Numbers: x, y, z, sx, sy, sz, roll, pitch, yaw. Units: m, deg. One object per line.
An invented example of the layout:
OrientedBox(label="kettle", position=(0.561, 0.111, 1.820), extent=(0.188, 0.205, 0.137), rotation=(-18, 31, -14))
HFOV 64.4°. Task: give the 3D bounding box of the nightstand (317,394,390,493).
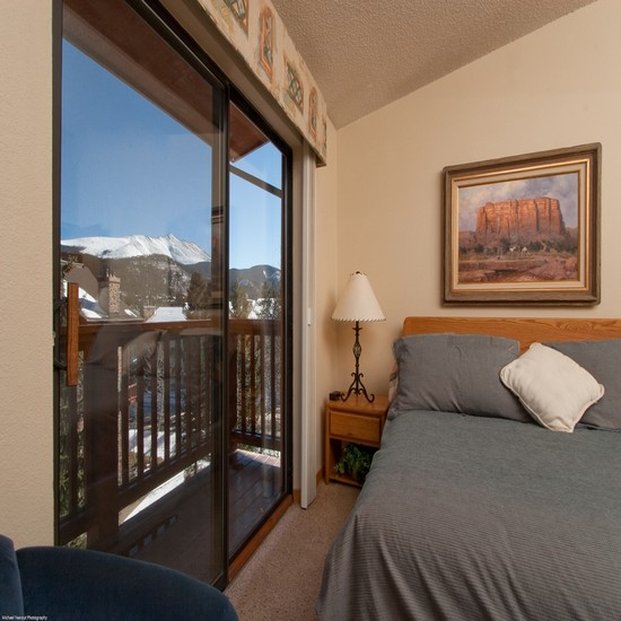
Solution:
OrientedBox(label="nightstand", position=(0.278, 0.726, 2.917), extent=(0.358, 0.534, 0.395), rotation=(3, 18, -1))

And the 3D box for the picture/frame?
OrientedBox(label="picture/frame", position=(1.169, -0.448, 2.660), extent=(0.768, 0.939, 0.063), rotation=(-1, -3, 24))
